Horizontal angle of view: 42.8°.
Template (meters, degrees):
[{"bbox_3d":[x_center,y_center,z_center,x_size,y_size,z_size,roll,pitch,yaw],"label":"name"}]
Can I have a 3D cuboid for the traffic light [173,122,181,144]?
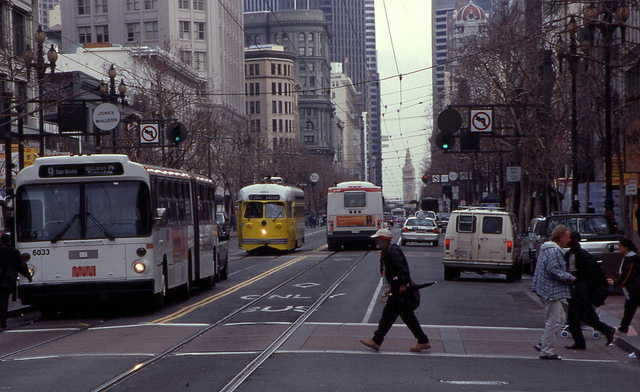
[{"bbox_3d":[-7.321,-3.238,41.654,0.402,0.803,0.801,-2,-1,-10],"label":"traffic light"}]

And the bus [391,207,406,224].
[{"bbox_3d":[11.823,3.018,125.947,1.852,1.581,2.701,-1,-6,0],"label":"bus"}]

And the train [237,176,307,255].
[{"bbox_3d":[-2.681,1.202,51.924,3.512,4.384,10.276,0,-2,7],"label":"train"}]

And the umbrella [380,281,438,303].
[{"bbox_3d":[2.022,2.232,19.344,1.201,0.399,1.525,-2,-1,4],"label":"umbrella"}]

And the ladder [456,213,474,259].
[{"bbox_3d":[5.450,1.383,31.019,0.586,2.108,0.156,-1,-44,15],"label":"ladder"}]
